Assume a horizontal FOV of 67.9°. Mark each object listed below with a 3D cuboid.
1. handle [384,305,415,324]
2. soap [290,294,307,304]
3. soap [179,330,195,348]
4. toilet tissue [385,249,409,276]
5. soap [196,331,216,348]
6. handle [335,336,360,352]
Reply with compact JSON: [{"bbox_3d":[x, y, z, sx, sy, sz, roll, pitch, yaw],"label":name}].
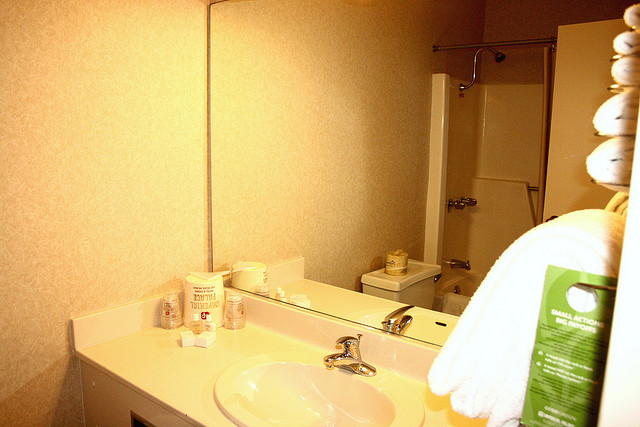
[{"bbox_3d":[0.260,0.327,1.559,0.095,0.029,0.043,-18,26,-31],"label":"handle"},{"bbox_3d":[-0.076,0.319,1.786,0.038,0.010,0.037,2,10,27],"label":"soap"},{"bbox_3d":[-0.483,0.452,1.739,0.042,0.029,0.060,-4,10,-30],"label":"soap"},{"bbox_3d":[0.251,0.160,1.550,0.078,0.085,0.077,-2,7,-38],"label":"toilet tissue"},{"bbox_3d":[-0.415,0.460,1.746,0.054,0.035,0.064,2,14,16],"label":"soap"},{"bbox_3d":[0.093,0.420,1.537,0.056,0.034,0.051,-4,0,-6],"label":"handle"}]
